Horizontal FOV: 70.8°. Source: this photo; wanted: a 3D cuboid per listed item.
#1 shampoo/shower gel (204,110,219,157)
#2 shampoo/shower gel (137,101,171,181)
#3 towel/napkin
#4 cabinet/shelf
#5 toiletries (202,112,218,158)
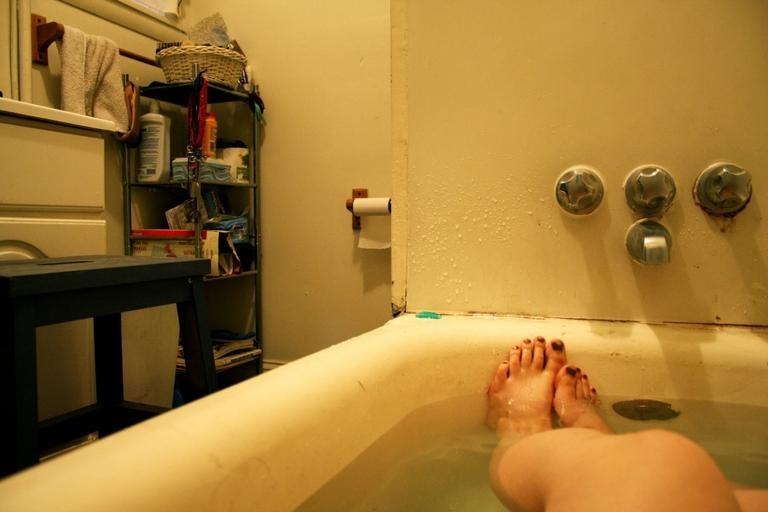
[{"bbox_3d":[-0.646,-0.476,2.078,0.088,0.157,0.086,3,12,-22],"label":"shampoo/shower gel"},{"bbox_3d":[-0.874,-0.447,2.073,0.103,0.289,0.072,7,9,34],"label":"shampoo/shower gel"},{"bbox_3d":[-0.998,-0.622,1.905,0.070,0.315,0.243,-5,0,35],"label":"towel/napkin"},{"bbox_3d":[-0.713,-0.216,2.157,0.450,1.571,0.604,0,1,16],"label":"cabinet/shelf"},{"bbox_3d":[-0.647,-0.477,2.075,0.081,0.148,0.078,-4,16,-42],"label":"toiletries"}]
